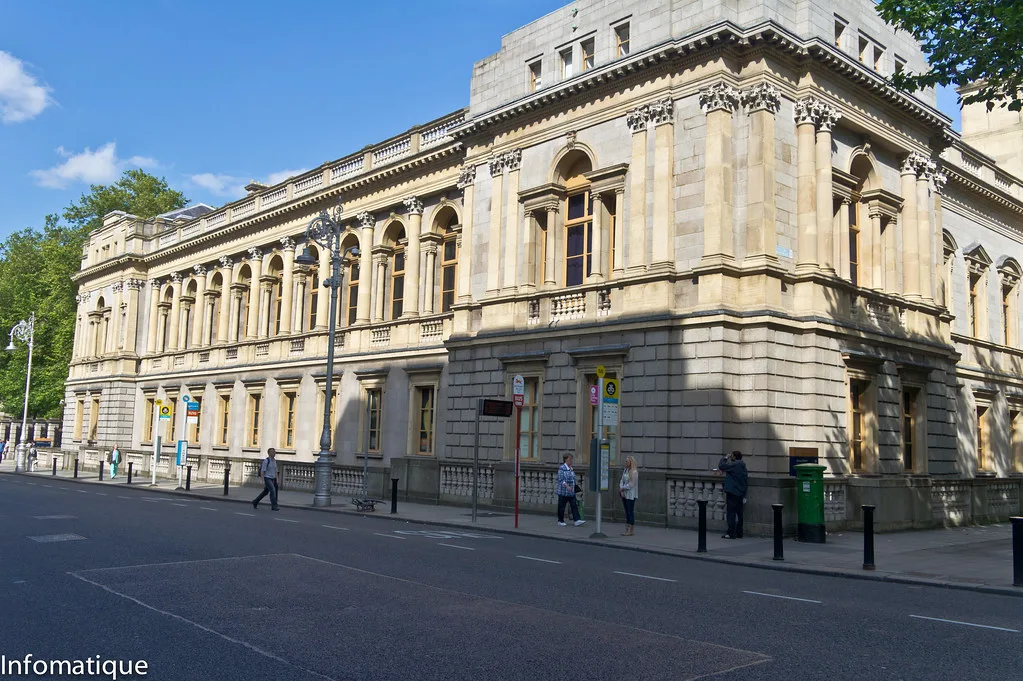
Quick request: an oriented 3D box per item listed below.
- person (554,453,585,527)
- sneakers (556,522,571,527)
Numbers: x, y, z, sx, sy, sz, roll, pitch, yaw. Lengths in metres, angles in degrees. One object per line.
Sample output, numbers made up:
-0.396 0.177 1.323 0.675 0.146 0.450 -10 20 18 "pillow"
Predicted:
1.943 5.003 32.677 0.819 2.310 1.575 -7 -17 21 "person"
1.703 6.054 32.240 0.126 0.167 0.380 6 -15 -33 "sneakers"
